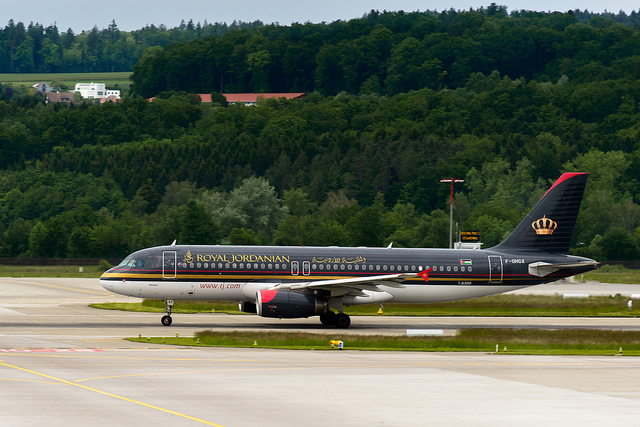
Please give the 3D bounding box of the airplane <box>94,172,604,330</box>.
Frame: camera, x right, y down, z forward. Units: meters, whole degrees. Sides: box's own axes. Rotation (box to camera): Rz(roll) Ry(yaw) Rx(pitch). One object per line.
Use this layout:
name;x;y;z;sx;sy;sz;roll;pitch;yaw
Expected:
airplane;5.193;5.573;225.839;78.470;23.162;10.251;2;1;-9
